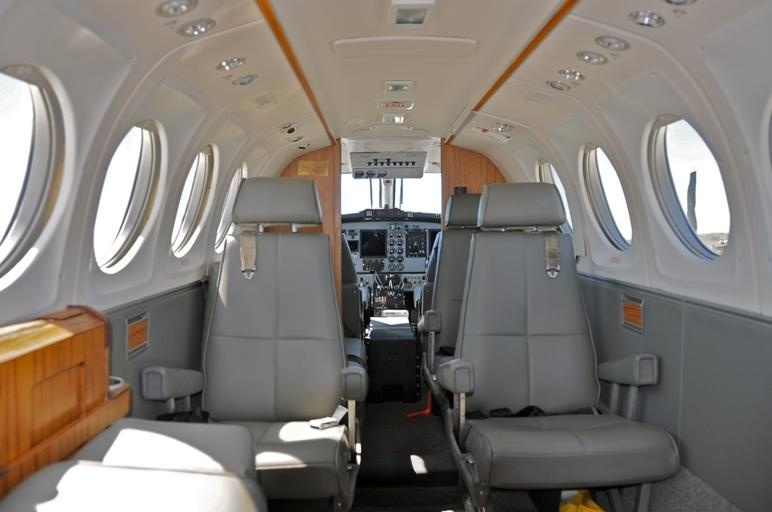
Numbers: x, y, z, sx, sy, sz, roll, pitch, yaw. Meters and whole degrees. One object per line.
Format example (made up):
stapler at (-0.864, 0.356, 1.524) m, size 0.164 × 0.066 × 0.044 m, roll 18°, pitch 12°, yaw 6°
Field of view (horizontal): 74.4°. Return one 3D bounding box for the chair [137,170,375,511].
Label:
chair at (-0.757, 0.512, 3.376) m, size 1.239 × 2.125 × 0.746 m, roll 0°, pitch -1°, yaw 23°

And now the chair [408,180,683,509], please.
chair at (0.975, 0.609, 3.826) m, size 1.341 × 2.296 × 1.798 m, roll 0°, pitch 0°, yaw -13°
